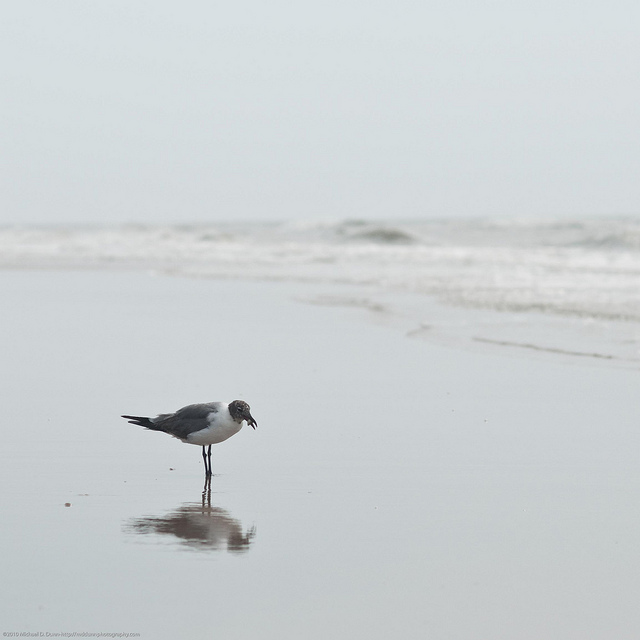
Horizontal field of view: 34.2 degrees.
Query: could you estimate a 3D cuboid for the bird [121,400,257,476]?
[{"bbox_3d":[-1.350,1.208,10.903,1.531,0.793,0.474,2,-4,26],"label":"bird"}]
